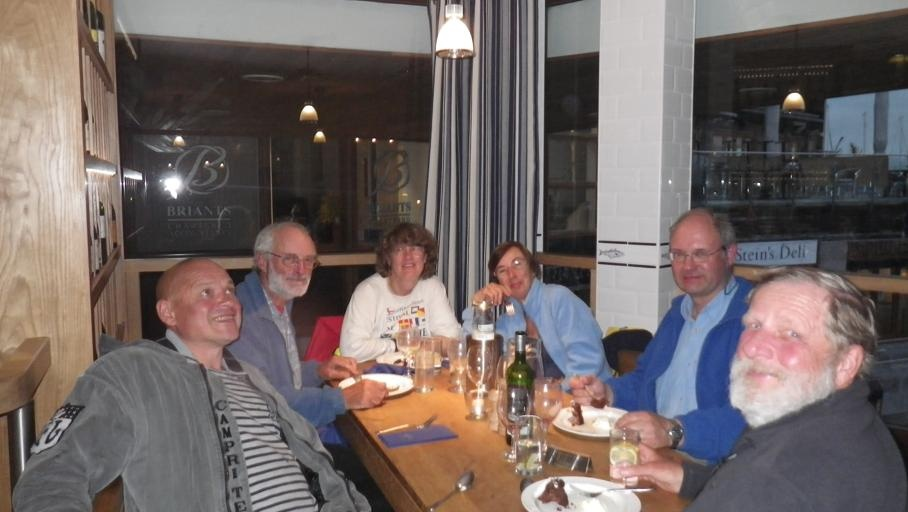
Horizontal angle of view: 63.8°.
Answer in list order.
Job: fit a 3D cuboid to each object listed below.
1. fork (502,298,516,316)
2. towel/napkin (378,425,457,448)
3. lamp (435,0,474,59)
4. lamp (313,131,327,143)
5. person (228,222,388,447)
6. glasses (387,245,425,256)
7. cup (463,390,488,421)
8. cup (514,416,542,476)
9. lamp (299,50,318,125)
[{"bbox_3d":[0.302,0.320,4.640,0.076,0.085,0.328,-30,-8,-1],"label":"fork"},{"bbox_3d":[-0.205,0.911,3.663,0.416,0.027,0.231,-6,6,-23],"label":"towel/napkin"},{"bbox_3d":[-0.039,-1.594,5.131,0.244,0.347,0.218,1,5,24],"label":"lamp"},{"bbox_3d":[-1.198,-1.052,6.408,0.120,0.104,0.038,0,4,-12],"label":"lamp"},{"bbox_3d":[-1.038,0.423,4.424,1.010,1.167,0.936,3,9,-28],"label":"person"},{"bbox_3d":[-0.344,-0.039,4.945,0.230,0.069,0.130,-1,3,-5],"label":"glasses"},{"bbox_3d":[0.089,0.800,3.886,0.139,0.142,0.133,0,-2,0],"label":"cup"},{"bbox_3d":[0.316,0.900,3.445,0.134,0.260,0.115,-1,4,5],"label":"cup"},{"bbox_3d":[-1.282,-1.459,6.365,0.154,0.540,0.144,-4,16,-20],"label":"lamp"}]
